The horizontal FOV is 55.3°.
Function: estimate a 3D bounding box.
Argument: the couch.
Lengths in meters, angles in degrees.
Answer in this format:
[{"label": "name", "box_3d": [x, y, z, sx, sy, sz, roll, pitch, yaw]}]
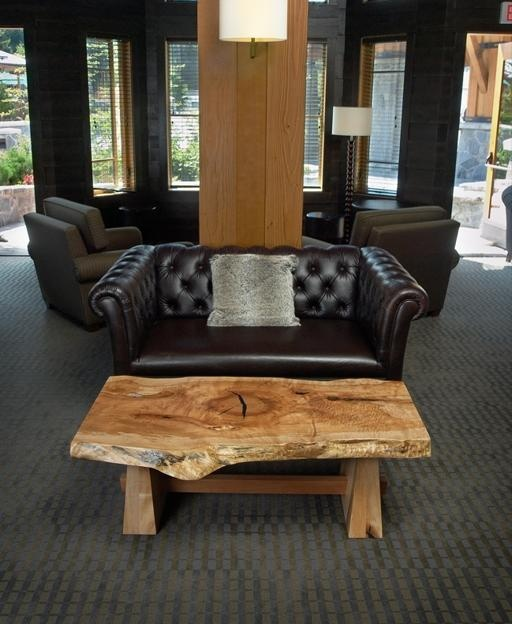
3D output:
[{"label": "couch", "box_3d": [0.017, -0.027, 2.879, 1.774, 0.680, 0.741, 1, 11, 1]}]

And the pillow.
[{"label": "pillow", "box_3d": [-0.010, -0.086, 3.139, 0.519, 0.436, 0.115, 1, -14, 3]}]

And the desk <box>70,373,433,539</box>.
[{"label": "desk", "box_3d": [0.009, 0.569, 1.869, 1.232, 0.499, 0.591, 0, 11, -5]}]

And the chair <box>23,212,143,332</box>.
[{"label": "chair", "box_3d": [-1.355, -0.439, 4.378, 1.133, 0.990, 0.998, 17, 23, 34]}]

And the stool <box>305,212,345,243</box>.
[{"label": "stool", "box_3d": [0.886, -1.107, 6.297, 0.484, 0.322, 0.455, 3, 24, 7]}]
